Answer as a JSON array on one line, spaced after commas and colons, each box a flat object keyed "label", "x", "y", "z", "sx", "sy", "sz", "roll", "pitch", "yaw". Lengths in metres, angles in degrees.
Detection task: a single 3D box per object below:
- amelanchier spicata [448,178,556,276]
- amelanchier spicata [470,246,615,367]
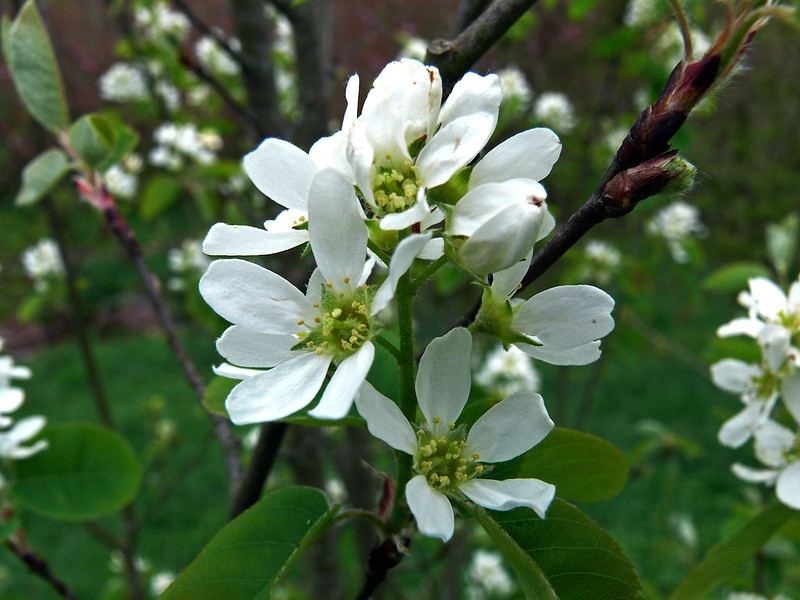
[{"label": "amelanchier spicata", "x": 0.290, "y": -0.225, "z": 3.009, "sx": 0.283, "sy": 0.216, "sz": 0.207, "roll": 4, "pitch": 46, "yaw": -5}, {"label": "amelanchier spicata", "x": 0.447, "y": 0.037, "z": 2.984, "sx": 0.371, "sy": 0.169, "sz": 0.377, "roll": -14, "pitch": 76, "yaw": -6}]
